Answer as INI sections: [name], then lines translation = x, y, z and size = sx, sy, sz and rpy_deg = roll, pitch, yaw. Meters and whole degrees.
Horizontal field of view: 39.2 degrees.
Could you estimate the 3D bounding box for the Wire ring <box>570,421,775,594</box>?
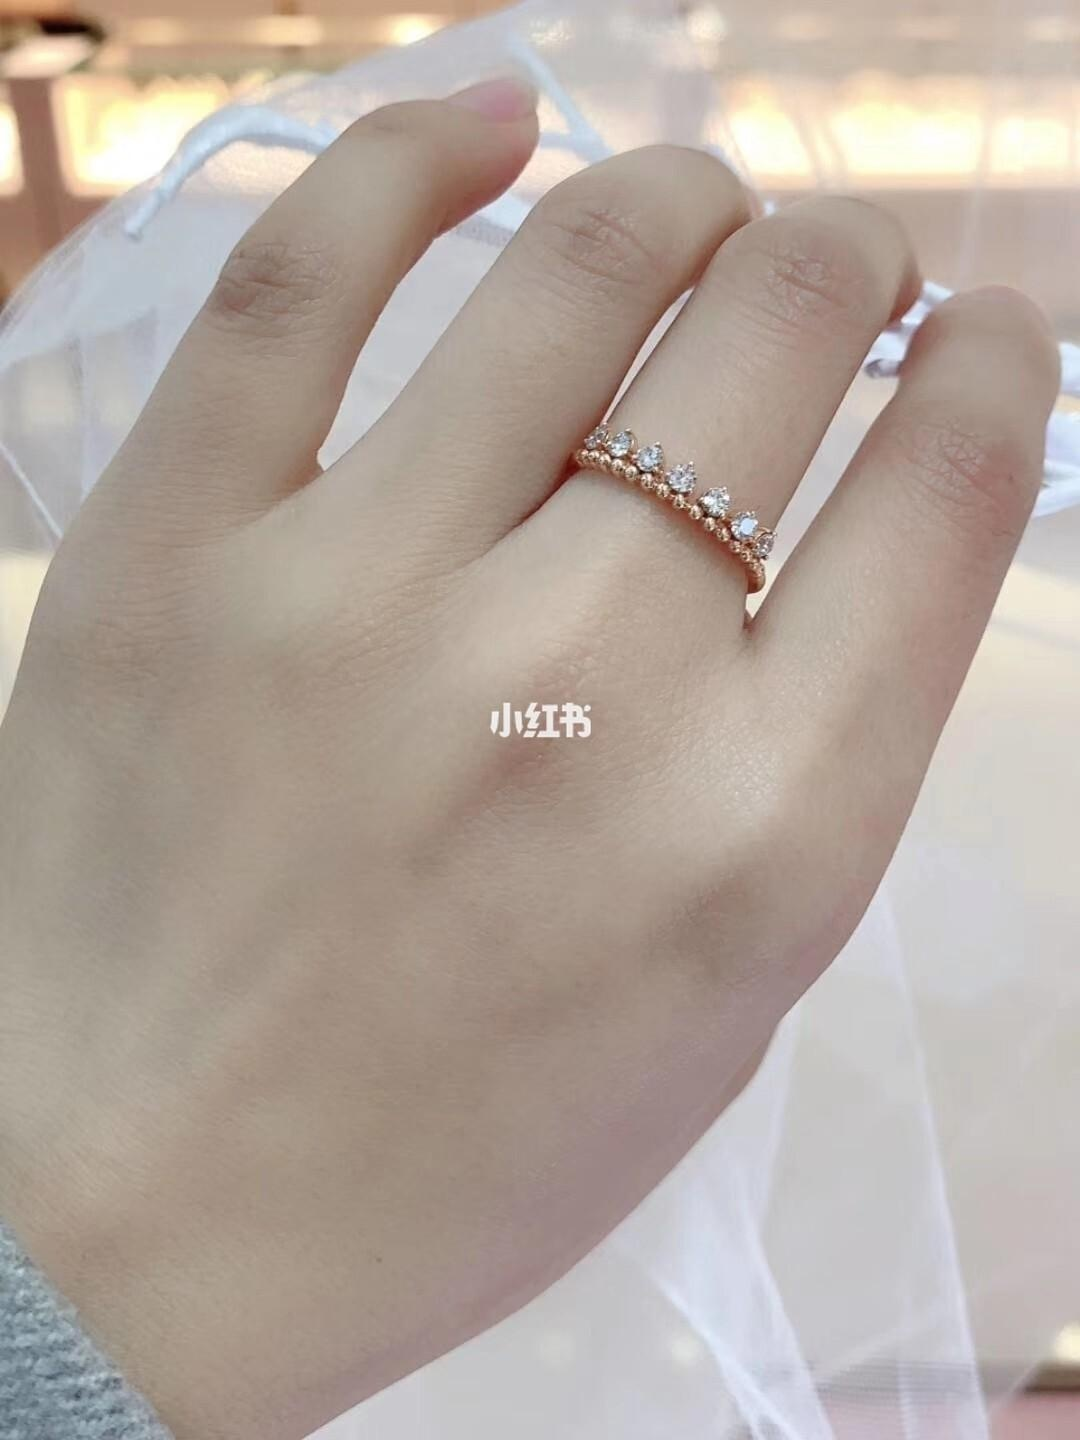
[Wire ring]
translation = 0.087, -0.127, 0.956
size = 0.112, 0.033, 0.088
rpy_deg = 25, 9, -38
